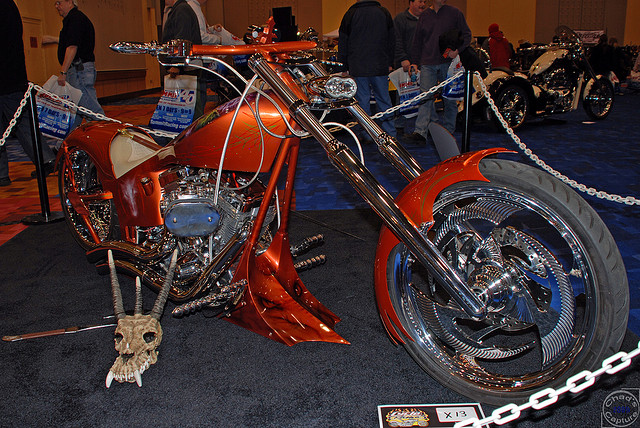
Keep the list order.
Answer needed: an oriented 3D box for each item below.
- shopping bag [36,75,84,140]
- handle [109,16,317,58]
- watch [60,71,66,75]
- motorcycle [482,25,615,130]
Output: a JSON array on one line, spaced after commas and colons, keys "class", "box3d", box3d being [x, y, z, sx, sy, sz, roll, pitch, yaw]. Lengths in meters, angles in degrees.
[{"class": "shopping bag", "box3d": [-2.645, -1.046, 4.626, 0.345, 0.570, 0.187, 14, 1, -8]}, {"class": "handle", "box3d": [-0.539, -0.910, 2.392, 1.041, 0.225, 0.262, 6, 23, 0]}, {"class": "watch", "box3d": [-3.359, -1.819, 5.985, 0.064, 0.074, 0.071, 3, 11, 4]}, {"class": "motorcycle", "box3d": [4.119, -2.372, 8.281, 2.440, 1.587, 1.095, -6, 5, -3]}]
